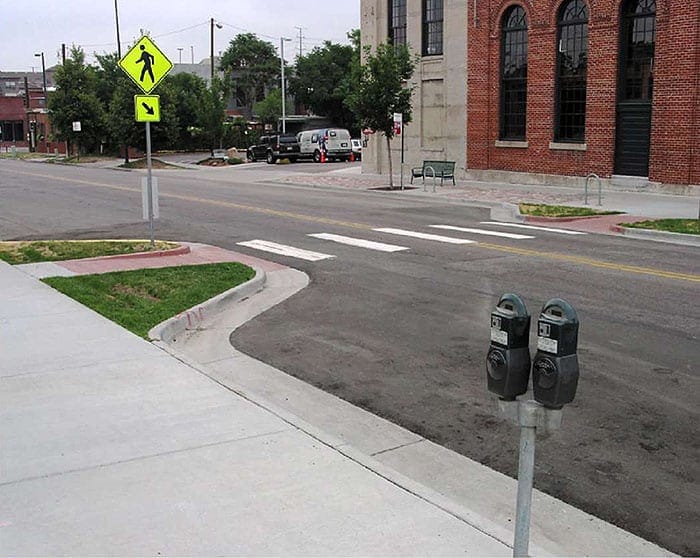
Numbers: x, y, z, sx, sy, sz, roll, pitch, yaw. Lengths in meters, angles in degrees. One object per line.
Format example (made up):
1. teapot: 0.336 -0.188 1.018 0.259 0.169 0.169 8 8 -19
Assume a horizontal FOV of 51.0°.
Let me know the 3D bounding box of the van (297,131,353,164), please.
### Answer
1. van: -2.133 -10.474 58.041 2.272 2.001 3.841 -8 19 -30

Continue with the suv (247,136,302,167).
1. suv: -5.832 -10.270 58.553 3.101 2.149 5.353 -9 14 -35
